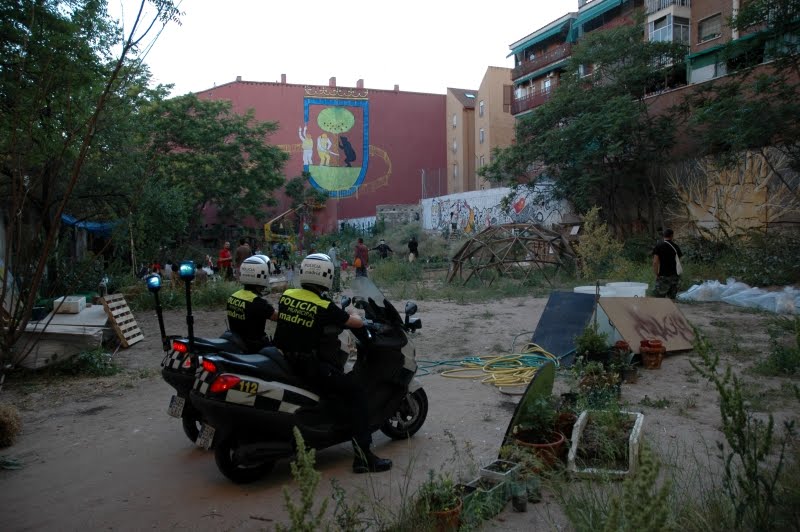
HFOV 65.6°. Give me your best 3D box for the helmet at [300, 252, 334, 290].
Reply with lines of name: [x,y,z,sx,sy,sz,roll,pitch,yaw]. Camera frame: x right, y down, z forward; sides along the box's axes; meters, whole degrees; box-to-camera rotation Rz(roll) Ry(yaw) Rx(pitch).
helmet: [-1.161,0.056,8.623,0.437,0.581,0.601,7,3,-1]

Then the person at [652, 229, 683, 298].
person: [6.694,-0.016,15.667,0.619,1.785,1.064,-3,2,23]

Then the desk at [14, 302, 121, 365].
desk: [-6.727,1.480,12.384,1.452,1.073,2.756,-4,2,-17]

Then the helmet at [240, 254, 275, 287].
helmet: [-2.125,0.071,9.270,0.359,0.404,0.490,6,5,5]
